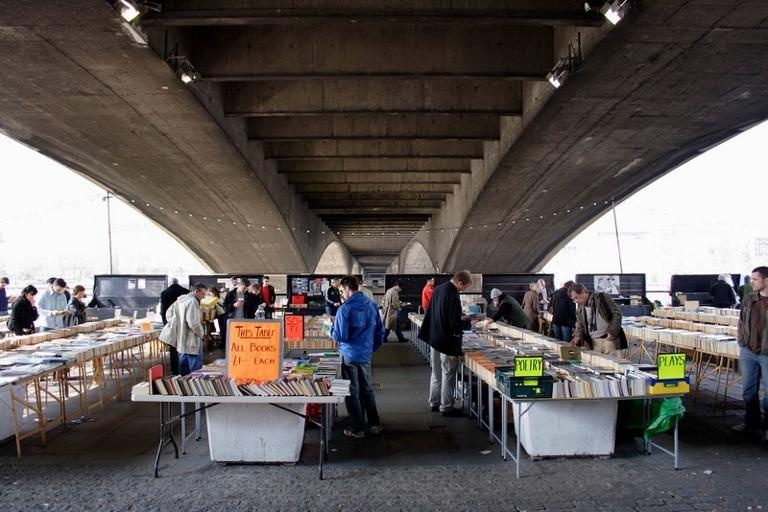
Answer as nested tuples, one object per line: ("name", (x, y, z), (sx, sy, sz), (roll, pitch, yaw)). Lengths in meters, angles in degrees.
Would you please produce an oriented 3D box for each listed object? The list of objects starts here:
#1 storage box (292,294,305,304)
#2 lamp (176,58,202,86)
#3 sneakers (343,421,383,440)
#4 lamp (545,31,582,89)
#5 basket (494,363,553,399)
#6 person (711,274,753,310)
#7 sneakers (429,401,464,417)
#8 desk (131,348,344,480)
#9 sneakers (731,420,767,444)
("storage box", (-2.587, 1.320, 17.897), (0.303, 0.224, 0.298), (0, -4, -7))
("lamp", (-3.730, -3.491, 11.258), (0.213, 0.357, 0.473), (15, -16, 26))
("sneakers", (-0.299, 2.576, 8.746), (0.609, 0.273, 0.202), (2, -1, -4))
("lamp", (3.463, -3.760, 11.335), (0.335, 0.878, 0.780), (2, -4, -22))
("basket", (1.831, 1.648, 7.767), (0.565, 0.247, 0.758), (0, -5, -3))
("person", (8.573, 0.916, 14.658), (1.020, 0.884, 0.759), (14, -8, 21))
("sneakers", (1.023, 2.473, 9.591), (0.550, 0.228, 0.196), (0, 1, -4))
("desk", (-1.819, 2.202, 8.062), (2.726, 1.378, 1.064), (0, -4, 3))
("sneakers", (5.332, 2.564, 8.581), (0.464, 0.193, 0.157), (5, -1, 24))
